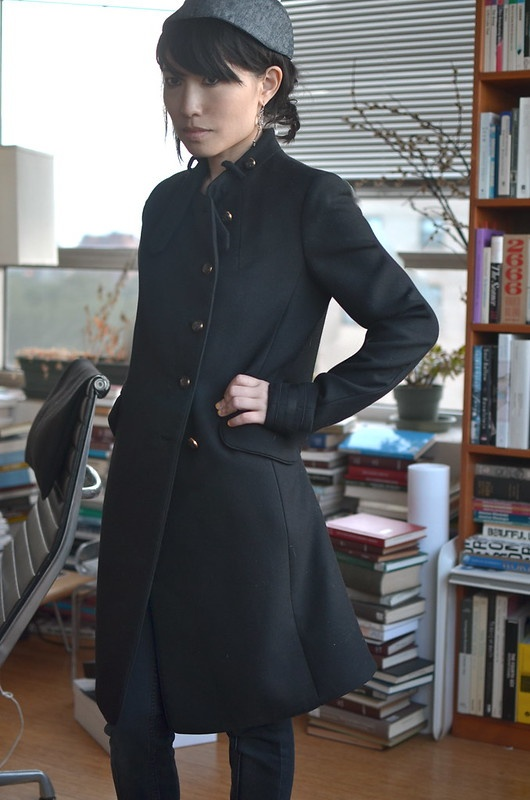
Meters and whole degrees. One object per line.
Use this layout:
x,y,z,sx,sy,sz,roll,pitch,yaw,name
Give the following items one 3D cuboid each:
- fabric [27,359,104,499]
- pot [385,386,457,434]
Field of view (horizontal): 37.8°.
-0.371,0.053,1.381,0.097,0.242,0.252,21,-2,-15,fabric
0.547,0.031,2.642,0.184,0.116,0.174,-1,4,0,pot
